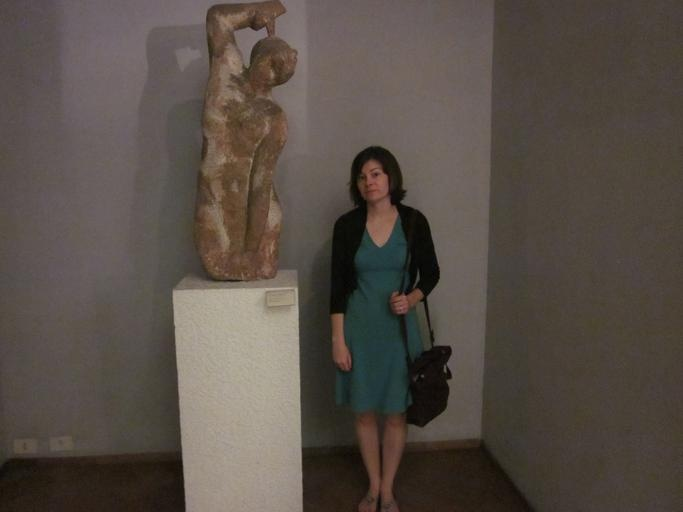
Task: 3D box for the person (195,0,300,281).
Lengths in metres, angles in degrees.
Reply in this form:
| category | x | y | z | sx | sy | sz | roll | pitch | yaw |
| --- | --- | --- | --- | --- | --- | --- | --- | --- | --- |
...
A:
| category | x | y | z | sx | sy | sz | roll | pitch | yaw |
| --- | --- | --- | --- | --- | --- | --- | --- | --- | --- |
| person | -0.431 | -0.513 | 2.884 | 0.423 | 1.245 | 0.311 | 1 | -3 | -13 |

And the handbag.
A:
| category | x | y | z | sx | sy | sz | roll | pitch | yaw |
| --- | --- | --- | --- | --- | --- | --- | --- | --- | --- |
| handbag | 0.418 | 0.627 | 3.133 | 0.211 | 0.376 | 0.184 | 0 | -3 | 1 |
